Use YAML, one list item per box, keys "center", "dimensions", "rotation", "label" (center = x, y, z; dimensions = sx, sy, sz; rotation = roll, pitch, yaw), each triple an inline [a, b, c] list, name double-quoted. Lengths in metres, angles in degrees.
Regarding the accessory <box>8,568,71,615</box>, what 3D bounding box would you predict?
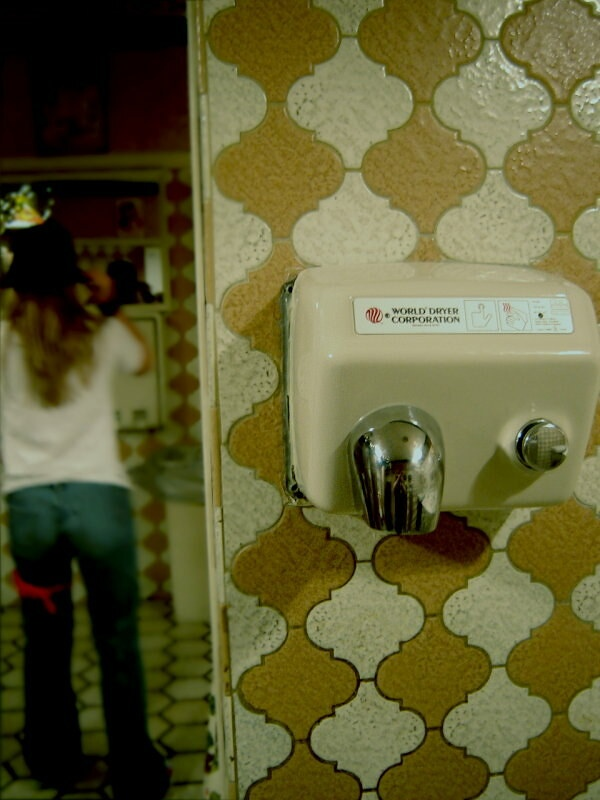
- center: [-0.279, 0.207, 0.970]
  dimensions: [0.061, 0.050, 0.013]
  rotation: [-24, 28, -5]
  label: "accessory"
